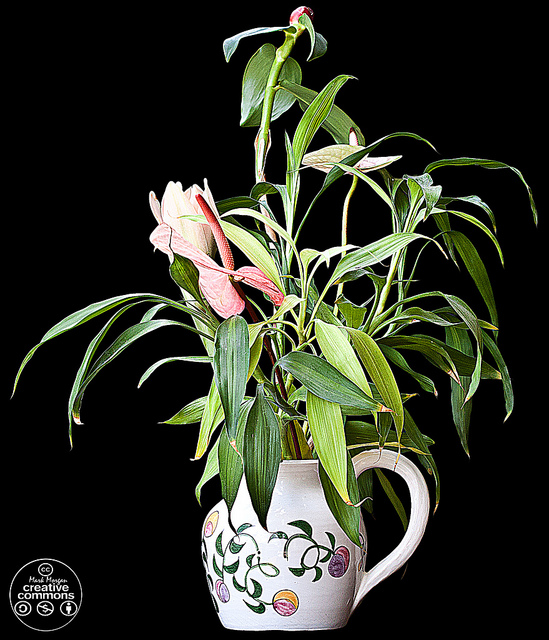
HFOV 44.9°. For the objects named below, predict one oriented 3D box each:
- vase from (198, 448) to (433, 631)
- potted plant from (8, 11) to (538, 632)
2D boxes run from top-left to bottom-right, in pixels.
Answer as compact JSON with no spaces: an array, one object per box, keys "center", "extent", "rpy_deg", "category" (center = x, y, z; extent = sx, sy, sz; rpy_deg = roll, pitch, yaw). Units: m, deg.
[{"center":[0.035,0.251,0.979],"extent":[0.323,0.339,0.296],"rpy_deg":[3,-17,-11],"category":"vase"},{"center":[0.058,0.085,0.950],"extent":[0.534,0.954,0.601],"rpy_deg":[10,23,25],"category":"potted plant"}]
